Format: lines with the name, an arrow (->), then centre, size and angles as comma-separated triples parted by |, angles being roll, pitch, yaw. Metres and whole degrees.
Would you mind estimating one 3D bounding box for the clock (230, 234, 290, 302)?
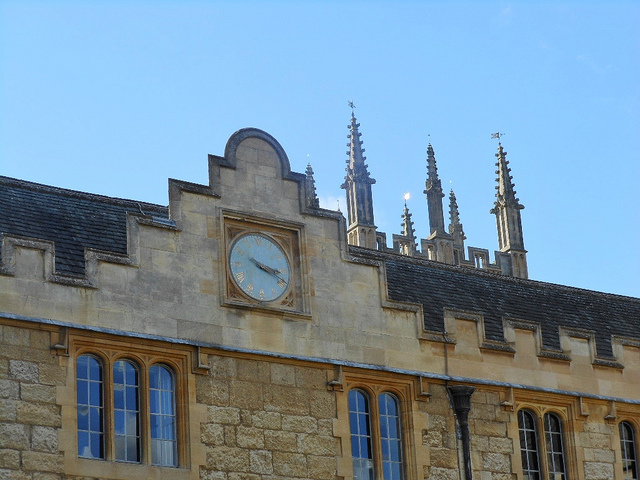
clock -> -1.341, 0.640, 45.231 | 1.370, 1.537, 0.385 | 12, -19, -35
